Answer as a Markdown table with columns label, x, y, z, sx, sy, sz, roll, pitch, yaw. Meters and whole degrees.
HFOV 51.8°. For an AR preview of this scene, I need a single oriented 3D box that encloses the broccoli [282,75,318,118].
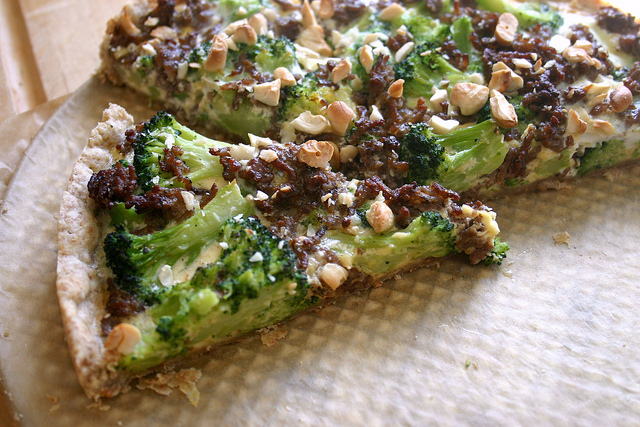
| label | x | y | z | sx | sy | sz | roll | pitch | yaw |
| --- | --- | --- | --- | --- | --- | --- | --- | --- | --- |
| broccoli | -0.128 | -0.865 | 4.781 | 0.242 | 0.076 | 0.254 | -13 | 66 | 9 |

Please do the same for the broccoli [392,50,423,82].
| label | x | y | z | sx | sy | sz | roll | pitch | yaw |
| --- | --- | --- | --- | --- | --- | --- | --- | --- | --- |
| broccoli | 0.653 | -1.080 | 4.874 | 0.188 | 0.060 | 0.203 | 13 | 70 | 0 |

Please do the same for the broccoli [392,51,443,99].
| label | x | y | z | sx | sy | sz | roll | pitch | yaw |
| --- | --- | --- | --- | --- | --- | --- | --- | --- | --- |
| broccoli | 0.720 | -1.010 | 4.873 | 0.308 | 0.097 | 0.322 | -36 | 92 | -8 |

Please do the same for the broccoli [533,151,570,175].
| label | x | y | z | sx | sy | sz | roll | pitch | yaw |
| --- | --- | --- | --- | --- | --- | --- | --- | --- | --- |
| broccoli | 1.667 | -0.354 | 4.717 | 0.184 | 0.186 | 0.051 | -13 | 58 | -30 |

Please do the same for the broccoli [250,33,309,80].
| label | x | y | z | sx | sy | sz | roll | pitch | yaw |
| --- | --- | --- | --- | --- | --- | --- | --- | --- | --- |
| broccoli | -0.306 | -1.151 | 4.850 | 0.350 | 0.105 | 0.355 | 41 | 62 | 5 |

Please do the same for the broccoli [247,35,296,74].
| label | x | y | z | sx | sy | sz | roll | pitch | yaw |
| --- | --- | --- | --- | --- | --- | --- | --- | --- | --- |
| broccoli | -0.349 | -1.182 | 4.846 | 0.283 | 0.092 | 0.284 | -7 | 71 | -12 |
